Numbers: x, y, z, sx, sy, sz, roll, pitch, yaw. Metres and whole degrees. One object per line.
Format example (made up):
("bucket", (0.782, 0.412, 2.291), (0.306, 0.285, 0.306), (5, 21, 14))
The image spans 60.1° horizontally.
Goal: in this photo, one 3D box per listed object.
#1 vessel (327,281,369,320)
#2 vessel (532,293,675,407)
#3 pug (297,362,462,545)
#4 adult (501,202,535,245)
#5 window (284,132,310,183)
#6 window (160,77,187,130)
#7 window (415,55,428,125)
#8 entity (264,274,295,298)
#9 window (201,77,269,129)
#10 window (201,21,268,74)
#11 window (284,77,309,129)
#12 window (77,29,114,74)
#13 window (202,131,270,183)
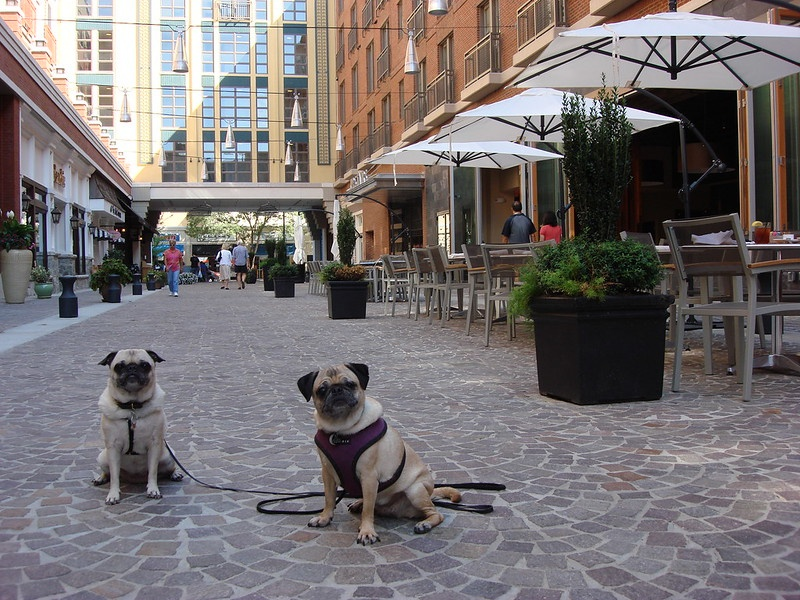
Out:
("vessel", (-1.030, 0.016, 14.645), (0.807, 0.757, 0.649), (-1, -4, 10))
("vessel", (1.710, 0.413, 6.178), (1.209, 1.006, 0.941), (0, -1, -17))
("pug", (-0.080, 0.795, 3.626), (0.519, 0.829, 1.119), (-7, -14, 36))
("adult", (2.415, -1.287, 13.939), (0.688, 1.411, 0.438), (-4, 23, 4))
("window", (-7.321, -10.310, 48.712), (1.709, 3.265, 0.218), (1, -23, -12))
("window", (-16.396, -13.979, 49.874), (1.823, 3.272, 0.156), (-7, 45, -24))
("window", (0.837, -8.241, 27.204), (0.463, 2.096, 0.094), (6, 10, 30))
("entity", (-4.060, -0.456, 24.123), (0.896, 0.648, 0.752), (-1, 0, -12))
("window", (-12.042, -14.313, 50.244), (5.101, 3.659, 0.188), (-9, 24, -32))
("window", (-12.114, -18.276, 50.383), (5.052, 3.489, 0.157), (-12, 29, -34))
("window", (-7.537, -14.216, 49.921), (1.909, 3.821, 0.156), (-1, -4, -6))
("window", (-22.553, -18.280, 50.724), (3.380, 4.029, 0.335), (0, 2, -9))
("window", (-11.785, -10.116, 49.526), (5.479, 3.922, 0.188), (2, 9, 12))
